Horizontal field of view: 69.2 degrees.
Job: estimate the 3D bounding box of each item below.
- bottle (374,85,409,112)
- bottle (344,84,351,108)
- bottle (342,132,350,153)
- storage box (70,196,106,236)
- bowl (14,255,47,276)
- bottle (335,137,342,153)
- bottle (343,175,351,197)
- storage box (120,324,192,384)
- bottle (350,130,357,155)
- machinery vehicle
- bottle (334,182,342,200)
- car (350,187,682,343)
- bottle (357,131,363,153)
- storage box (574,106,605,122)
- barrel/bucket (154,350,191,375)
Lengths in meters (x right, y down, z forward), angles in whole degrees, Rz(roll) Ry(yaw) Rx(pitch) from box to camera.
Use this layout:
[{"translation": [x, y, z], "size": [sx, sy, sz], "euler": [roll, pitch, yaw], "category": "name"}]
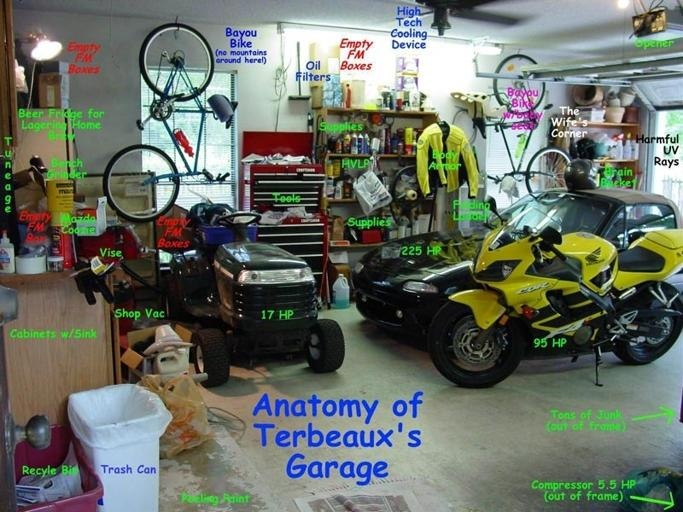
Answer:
[{"translation": [0.690, -2.246, 7.039], "size": [0.519, 0.386, 0.267], "euler": [-1, 10, -17], "category": "bottle"}, {"translation": [0.075, -2.202, 6.748], "size": [0.089, 0.321, 0.071], "euler": [-1, 13, -11], "category": "bottle"}, {"translation": [0.056, -1.569, 6.868], "size": [0.103, 0.248, 0.107], "euler": [1, 13, 0], "category": "bottle"}, {"translation": [-1.415, -0.226, 2.770], "size": [0.167, 0.207, 0.193], "euler": [-5, 13, -26], "category": "storage box"}, {"translation": [-1.558, 0.041, 2.476], "size": [0.115, 0.055, 0.103], "euler": [-1, 11, -21], "category": "bowl"}, {"translation": [-0.050, -1.543, 6.853], "size": [0.085, 0.205, 0.188], "euler": [1, 12, -1], "category": "bottle"}, {"translation": [0.076, -0.987, 6.986], "size": [0.119, 0.299, 0.069], "euler": [1, 13, 1], "category": "bottle"}, {"translation": [-1.333, 0.703, 3.562], "size": [0.484, 0.290, 0.473], "euler": [-1, 7, 26], "category": "storage box"}, {"translation": [0.175, -1.556, 6.855], "size": [0.092, 0.246, 0.063], "euler": [-5, 14, -24], "category": "bottle"}, {"translation": [-0.924, 0.296, 4.634], "size": [1.164, 1.358, 1.597], "euler": [-6, 14, -31], "category": "machinery vehicle"}, {"translation": [-0.059, -0.918, 6.861], "size": [0.177, 0.246, 0.084], "euler": [-10, 17, -42], "category": "bottle"}, {"translation": [1.759, -0.011, 5.013], "size": [3.049, 1.036, 1.563], "euler": [0, 6, -16], "category": "car"}, {"translation": [0.257, -1.568, 6.905], "size": [0.075, 0.250, 0.101], "euler": [2, 13, 1], "category": "bottle"}, {"translation": [4.333, -2.480, 8.598], "size": [0.390, 0.192, 0.338], "euler": [1, 3, 13], "category": "storage box"}, {"translation": [-1.196, 0.726, 3.489], "size": [0.269, 0.203, 0.150], "euler": [-2, 4, -21], "category": "barrel/bucket"}]
